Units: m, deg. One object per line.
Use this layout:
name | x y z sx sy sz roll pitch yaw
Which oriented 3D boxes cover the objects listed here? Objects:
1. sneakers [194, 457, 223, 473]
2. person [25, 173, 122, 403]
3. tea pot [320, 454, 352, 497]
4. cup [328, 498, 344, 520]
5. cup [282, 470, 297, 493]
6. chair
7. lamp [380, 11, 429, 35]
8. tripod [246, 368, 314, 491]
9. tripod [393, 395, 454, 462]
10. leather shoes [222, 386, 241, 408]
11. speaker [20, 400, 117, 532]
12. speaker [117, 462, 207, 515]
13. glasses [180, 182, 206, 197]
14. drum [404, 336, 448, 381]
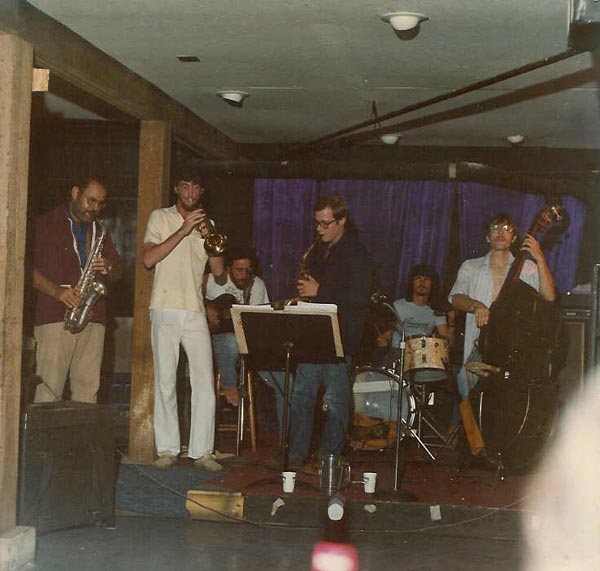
sneakers | -0.720 1.408 5.795 0.188 0.082 0.095 -3 -4 29
person | -1.898 0.021 6.256 0.715 1.879 0.942 -1 7 -17
tea pot | 0.242 1.370 5.351 0.171 0.285 0.277 3 -9 2
cup | 0.244 1.541 5.100 0.118 0.119 0.180 2 6 3
cup | -0.096 1.413 5.341 0.092 0.143 0.142 6 -8 -43
chair | -0.023 0.792 5.657 0.778 1.458 1.027 3 7 15
lamp | 0.697 -1.769 4.943 0.333 0.104 0.243 1 6 -4
tripod | -0.256 1.104 6.085 0.619 0.884 0.690 -3 -4 17
tripod | 1.141 1.334 6.950 0.547 0.846 0.617 0 -6 9
leather shoes | -0.627 1.018 6.872 0.146 0.214 0.087 -5 9 42
speaker | -1.523 1.203 4.821 0.262 0.853 0.840 6 8 38
speaker | -1.105 1.522 5.531 0.396 0.109 0.366 1 19 0
glasses | -0.896 -0.788 5.995 0.108 0.082 0.138 3 4 0
drum | 1.168 0.696 6.857 0.398 0.517 0.481 2 7 11
